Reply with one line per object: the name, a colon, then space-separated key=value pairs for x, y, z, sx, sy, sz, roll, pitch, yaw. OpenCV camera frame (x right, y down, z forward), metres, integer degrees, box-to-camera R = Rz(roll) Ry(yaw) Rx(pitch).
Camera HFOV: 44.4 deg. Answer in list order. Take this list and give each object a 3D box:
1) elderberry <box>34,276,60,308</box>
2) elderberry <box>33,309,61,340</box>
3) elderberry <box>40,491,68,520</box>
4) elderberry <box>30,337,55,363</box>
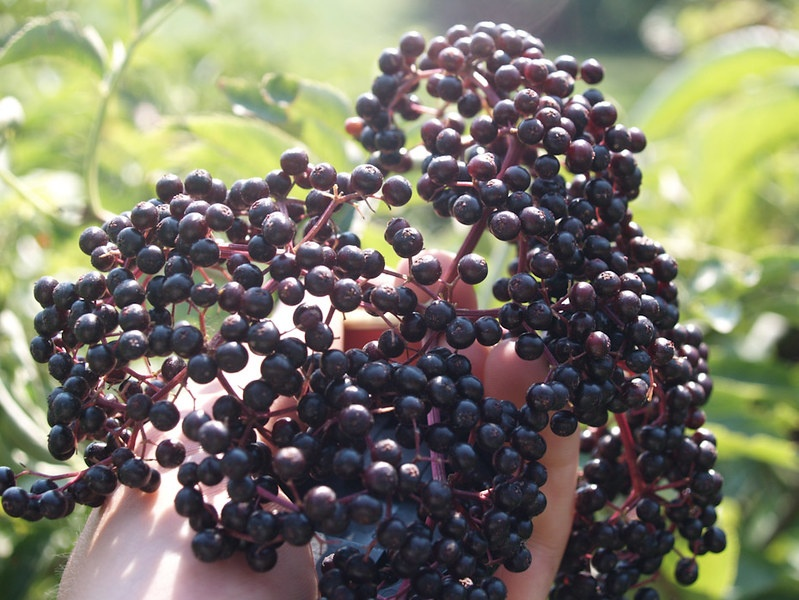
elderberry: x=-0.728 y=-0.016 z=2.063 sx=0.053 sy=0.067 sz=0.054 roll=11 pitch=6 yaw=-12
elderberry: x=-0.726 y=0.049 z=2.025 sx=0.054 sy=0.072 sz=0.057 roll=3 pitch=7 yaw=12
elderberry: x=-0.711 y=0.422 z=2.016 sx=0.057 sy=0.054 sz=0.038 roll=-16 pitch=35 yaw=-24
elderberry: x=-0.743 y=0.105 z=2.043 sx=0.033 sy=0.034 sz=0.041 roll=19 pitch=44 yaw=-26
